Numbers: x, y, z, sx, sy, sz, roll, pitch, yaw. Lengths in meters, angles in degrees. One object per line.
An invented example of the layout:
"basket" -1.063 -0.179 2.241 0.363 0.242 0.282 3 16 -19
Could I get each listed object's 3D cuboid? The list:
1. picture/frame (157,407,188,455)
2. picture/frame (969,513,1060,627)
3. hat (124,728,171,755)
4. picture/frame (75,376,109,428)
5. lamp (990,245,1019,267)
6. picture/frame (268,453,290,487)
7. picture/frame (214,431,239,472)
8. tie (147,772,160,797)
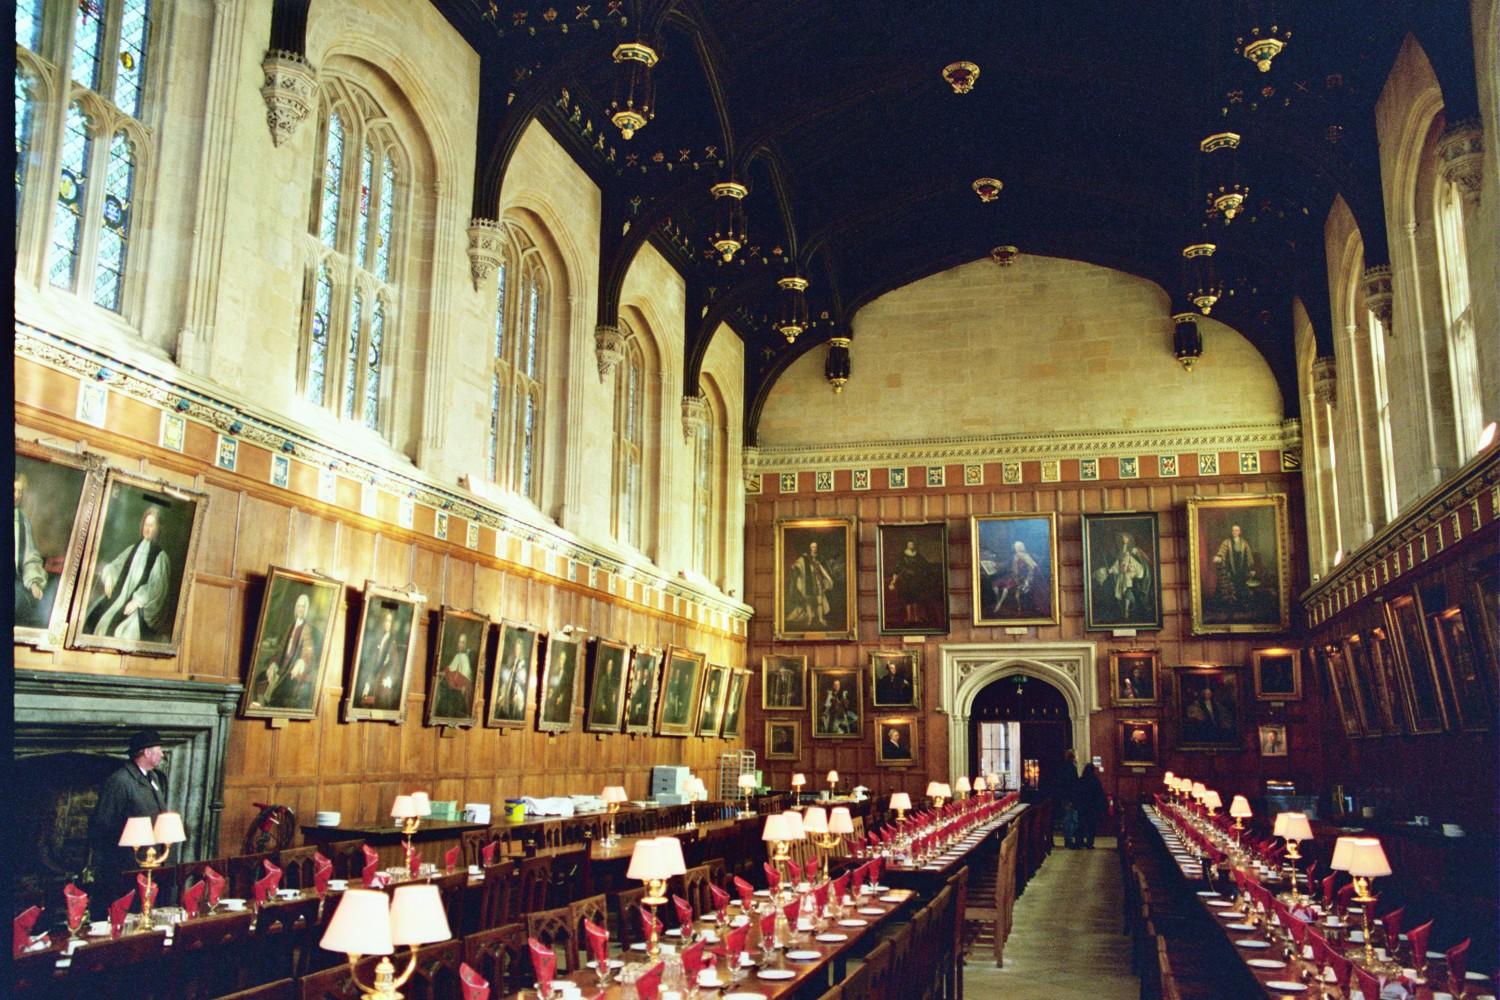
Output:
"picture/frame" -5.490 -0.669 11.224 0.047 0.516 0.365 -11 -15 26
"picture/frame" 5.471 1.449 24.032 2.056 2.837 0.201 -1 -12 8
"hat" -5.289 2.089 10.350 0.295 0.140 0.349 4 -17 -29
"picture/frame" -5.887 -0.886 10.559 0.051 0.534 0.382 -10 -14 27
"lamp" 5.070 -4.853 23.424 0.518 0.244 0.657 -4 3 30
"picture/frame" -4.917 -0.321 12.336 0.042 0.343 0.291 -8 -13 22
"picture/frame" -5.213 -0.491 11.759 0.051 0.388 0.331 -7 -14 21
"tie" -5.230 2.478 10.365 0.032 0.098 0.232 -32 21 -21
